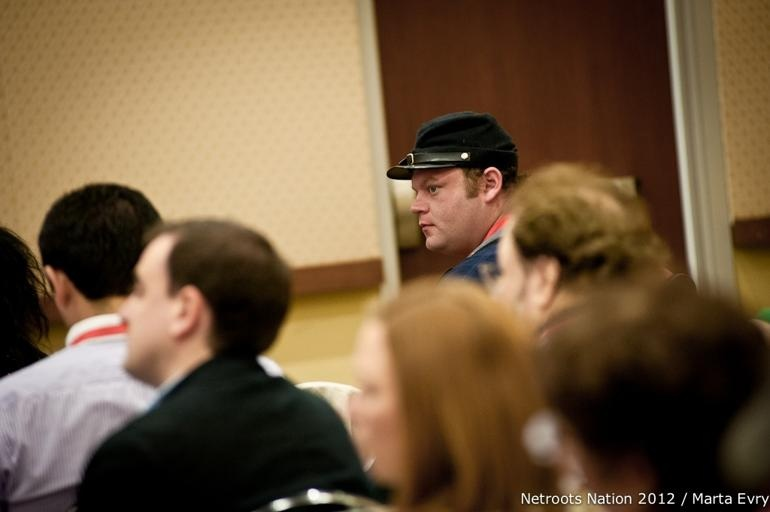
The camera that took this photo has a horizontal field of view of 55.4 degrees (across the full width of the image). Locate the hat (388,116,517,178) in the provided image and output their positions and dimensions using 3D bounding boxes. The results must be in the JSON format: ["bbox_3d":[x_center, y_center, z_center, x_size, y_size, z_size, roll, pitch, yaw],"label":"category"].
[{"bbox_3d":[0.253,-0.421,2.784,0.482,0.217,0.373,-2,3,1],"label":"hat"}]
